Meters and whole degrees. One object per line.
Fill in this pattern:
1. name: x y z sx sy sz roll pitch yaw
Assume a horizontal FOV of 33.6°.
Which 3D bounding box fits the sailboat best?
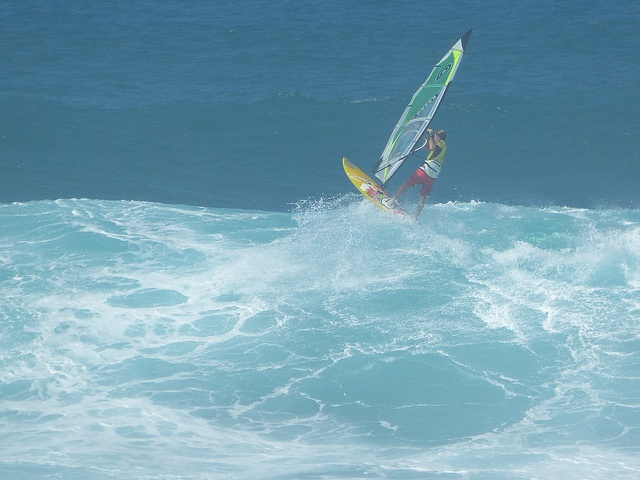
1. sailboat: 3.501 -4.232 41.347 2.182 7.183 4.681 9 0 -32
